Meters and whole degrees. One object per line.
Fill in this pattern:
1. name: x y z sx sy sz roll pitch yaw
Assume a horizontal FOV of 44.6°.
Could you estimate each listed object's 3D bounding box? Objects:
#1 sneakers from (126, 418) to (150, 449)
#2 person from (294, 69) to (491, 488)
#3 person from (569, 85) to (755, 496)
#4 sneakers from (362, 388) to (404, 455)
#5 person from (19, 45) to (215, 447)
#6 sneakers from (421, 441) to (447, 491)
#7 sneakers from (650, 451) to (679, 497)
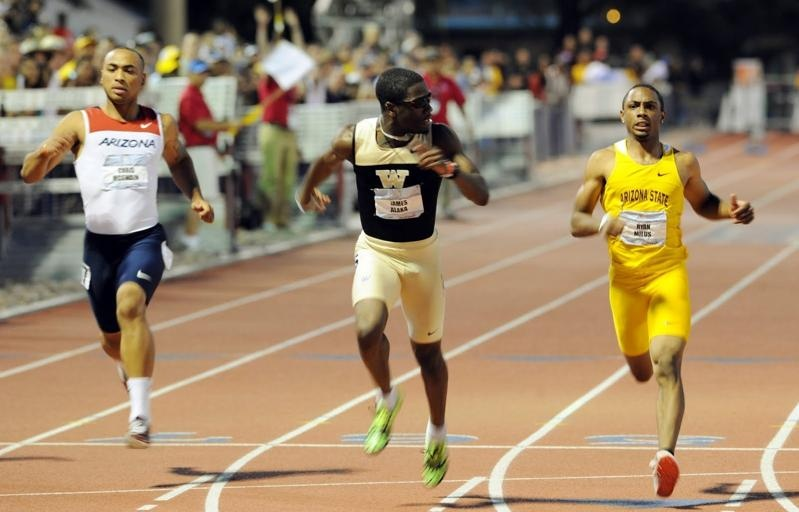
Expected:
1. sneakers: -1.628 1.092 6.047 0.095 0.109 0.249 2 3 1
2. person: -0.025 0.145 6.073 1.095 2.579 0.700 1 11 9
3. person: 1.638 0.162 6.122 0.995 2.426 1.198 -2 11 -8
4. sneakers: -0.082 1.065 6.158 0.171 0.482 0.210 15 -19 23
5. person: -1.772 -0.027 6.516 1.002 2.043 0.944 8 14 39
6. sneakers: 0.210 1.274 5.982 0.120 0.303 0.139 1 -14 -5
7. sneakers: 1.493 1.233 5.519 0.162 0.155 0.269 2 49 21
